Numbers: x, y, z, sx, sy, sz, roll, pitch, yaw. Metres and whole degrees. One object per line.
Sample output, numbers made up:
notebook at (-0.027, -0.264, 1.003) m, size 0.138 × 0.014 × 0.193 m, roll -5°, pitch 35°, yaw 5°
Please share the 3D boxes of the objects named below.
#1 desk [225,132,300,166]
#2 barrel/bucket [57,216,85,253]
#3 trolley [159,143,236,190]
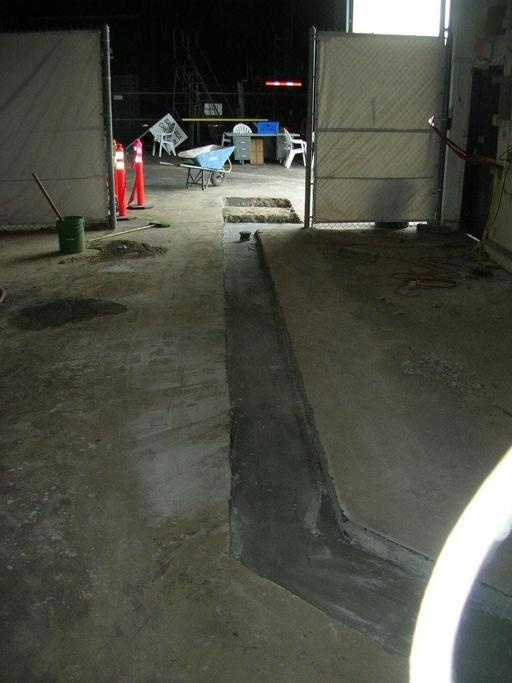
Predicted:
desk at (0.245, -8.042, 19.867) m, size 3.425 × 1.624 × 2.162 m, roll 0°, pitch 21°, yaw -3°
barrel/bucket at (-2.904, -1.710, 7.708) m, size 0.496 × 0.551 × 0.518 m, roll 4°, pitch 20°, yaw -1°
trolley at (-1.586, -4.997, 13.795) m, size 1.871 × 1.228 × 0.904 m, roll -22°, pitch 37°, yaw -39°
